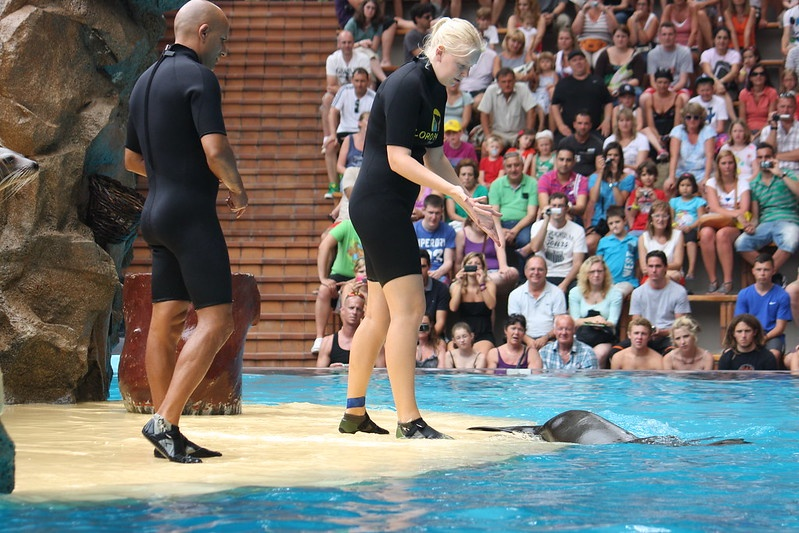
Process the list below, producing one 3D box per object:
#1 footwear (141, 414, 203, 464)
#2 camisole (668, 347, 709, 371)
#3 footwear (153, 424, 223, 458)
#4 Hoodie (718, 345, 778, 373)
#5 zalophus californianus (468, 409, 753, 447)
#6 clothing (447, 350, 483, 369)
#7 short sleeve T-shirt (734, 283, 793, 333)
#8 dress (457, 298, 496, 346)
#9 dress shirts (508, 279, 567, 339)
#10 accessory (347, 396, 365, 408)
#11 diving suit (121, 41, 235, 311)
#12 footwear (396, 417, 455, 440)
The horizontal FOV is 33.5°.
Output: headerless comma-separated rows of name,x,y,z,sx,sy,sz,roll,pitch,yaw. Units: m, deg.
footwear,-1.595,1.210,9.254,0.399,0.314,0.153,6,11,30
camisole,3.087,0.989,14.093,0.391,0.215,0.357,-7,-2,9
footwear,-1.481,1.264,9.423,0.581,0.218,0.168,-1,-3,-15
Hoodie,3.643,1.000,13.839,0.572,0.406,0.248,-2,-8,12
zalophus californianus,1.460,1.257,9.960,1.352,0.185,0.593,-6,-10,35
clothing,0.694,1.030,14.220,0.381,0.320,0.190,2,-2,2
short sleeve T-shirt,3.936,0.474,14.293,0.520,0.410,0.273,0,-22,39
dress,0.828,0.656,14.984,0.575,0.697,0.417,-1,-15,0
dress shirts,1.527,0.475,14.785,0.660,0.579,0.342,-3,18,0
accessory,-0.338,1.041,10.074,0.104,0.060,0.097,1,-5,-9
diving suit,-1.578,-0.644,9.561,0.820,1.854,0.489,3,10,11
footwear,0.200,1.226,9.903,0.466,0.167,0.149,0,-4,1
